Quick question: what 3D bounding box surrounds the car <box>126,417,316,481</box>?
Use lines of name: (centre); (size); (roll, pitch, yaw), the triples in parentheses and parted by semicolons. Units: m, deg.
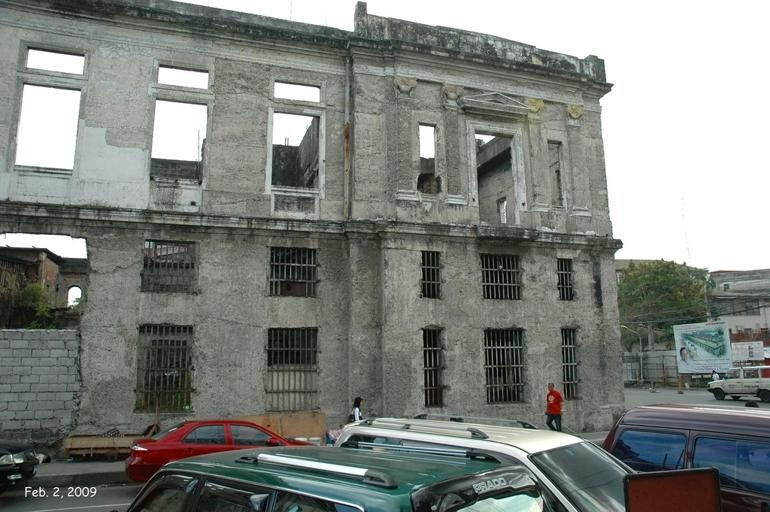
car: (-4.860, 5.104, 20.646); (4.302, 1.322, 2.032); (2, -12, -17)
